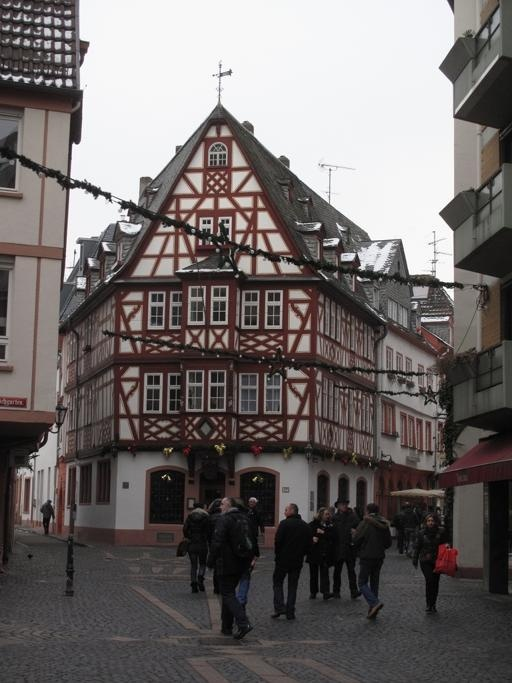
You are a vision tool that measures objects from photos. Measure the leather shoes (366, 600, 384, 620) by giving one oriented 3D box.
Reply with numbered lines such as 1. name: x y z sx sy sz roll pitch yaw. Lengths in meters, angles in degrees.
1. leather shoes: 1.560 3.552 12.323 0.145 0.163 0.336 -6 -38 -23

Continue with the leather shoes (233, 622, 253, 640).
1. leather shoes: -0.131 3.041 9.946 0.180 0.214 0.478 1 -12 0

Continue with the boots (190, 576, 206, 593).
1. boots: -0.989 4.209 16.156 0.155 0.296 0.444 2 -10 10

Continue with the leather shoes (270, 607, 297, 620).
1. leather shoes: 0.374 3.570 12.311 0.359 0.153 0.131 -2 -9 40

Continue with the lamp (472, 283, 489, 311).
1. lamp: 4.386 -0.848 18.085 0.248 0.432 0.713 -2 -12 13

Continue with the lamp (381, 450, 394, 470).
1. lamp: 6.167 5.723 45.534 0.838 0.909 0.960 1 -7 20

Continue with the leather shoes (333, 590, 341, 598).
1. leather shoes: 1.338 4.177 15.490 0.113 0.185 0.103 1 -17 -5
